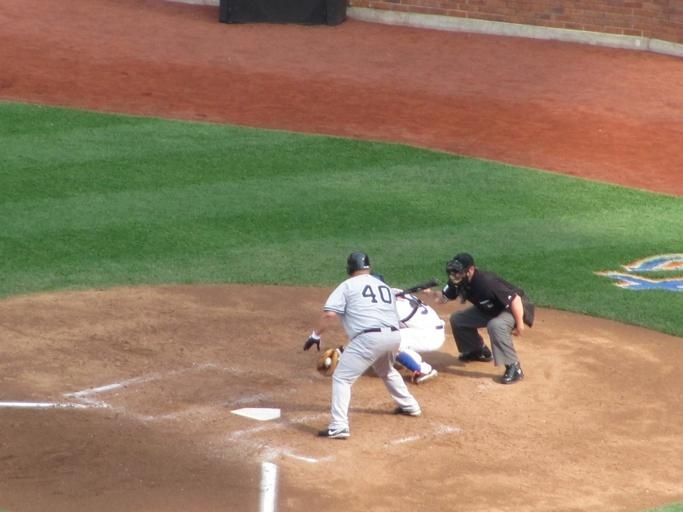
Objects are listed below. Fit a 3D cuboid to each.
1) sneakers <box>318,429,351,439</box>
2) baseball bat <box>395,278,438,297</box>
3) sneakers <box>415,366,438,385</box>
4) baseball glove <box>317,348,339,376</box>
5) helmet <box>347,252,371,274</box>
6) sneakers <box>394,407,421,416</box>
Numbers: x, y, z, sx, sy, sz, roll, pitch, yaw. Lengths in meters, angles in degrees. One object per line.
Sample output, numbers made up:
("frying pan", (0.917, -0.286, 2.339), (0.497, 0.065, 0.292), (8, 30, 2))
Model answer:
("sneakers", (-0.170, 3.709, 33.560), (0.623, 0.269, 0.229), (4, 9, 7))
("baseball bat", (1.619, 0.790, 36.322), (0.854, 0.155, 0.144), (-19, -22, 15))
("sneakers", (1.754, 2.608, 34.979), (0.593, 0.266, 0.216), (-33, 6, -21))
("baseball glove", (-0.288, 2.272, 33.762), (0.270, 0.383, 0.553), (4, -39, -23))
("helmet", (0.322, 0.209, 33.995), (0.473, 0.442, 0.366), (9, 12, 37))
("sneakers", (1.337, 3.309, 34.059), (0.384, 0.141, 0.239), (2, -3, 8))
